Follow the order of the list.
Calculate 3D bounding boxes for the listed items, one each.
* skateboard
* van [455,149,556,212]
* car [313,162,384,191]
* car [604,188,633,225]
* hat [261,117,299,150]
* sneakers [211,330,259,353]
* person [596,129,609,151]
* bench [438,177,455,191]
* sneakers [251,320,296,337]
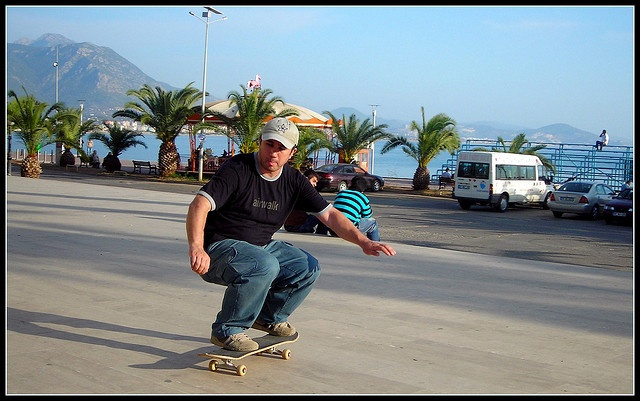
[{"bbox_3d":[-0.751,1.623,5.886,0.339,0.222,1.346,5,2,42],"label":"skateboard"},{"bbox_3d":[8.461,-0.926,25.896,4.635,2.002,2.355,-5,5,-39],"label":"van"},{"bbox_3d":[1.742,-1.355,32.018,3.962,1.177,1.628,-3,4,-36],"label":"car"},{"bbox_3d":[11.210,0.365,20.851,0.923,1.253,1.827,8,10,27],"label":"car"},{"bbox_3d":[-0.434,-0.712,5.921,0.401,0.314,0.278,2,9,-9],"label":"hat"},{"bbox_3d":[-0.858,1.459,5.807,0.503,0.203,0.181,3,2,11],"label":"sneakers"},{"bbox_3d":[18.868,-3.978,37.318,0.718,1.308,2.605,7,9,25],"label":"person"},{"bbox_3d":[8.031,-1.081,35.785,0.867,0.583,1.268,-1,1,-1],"label":"bench"},{"bbox_3d":[-0.481,1.440,6.232,0.541,0.205,0.174,1,7,3],"label":"sneakers"}]
